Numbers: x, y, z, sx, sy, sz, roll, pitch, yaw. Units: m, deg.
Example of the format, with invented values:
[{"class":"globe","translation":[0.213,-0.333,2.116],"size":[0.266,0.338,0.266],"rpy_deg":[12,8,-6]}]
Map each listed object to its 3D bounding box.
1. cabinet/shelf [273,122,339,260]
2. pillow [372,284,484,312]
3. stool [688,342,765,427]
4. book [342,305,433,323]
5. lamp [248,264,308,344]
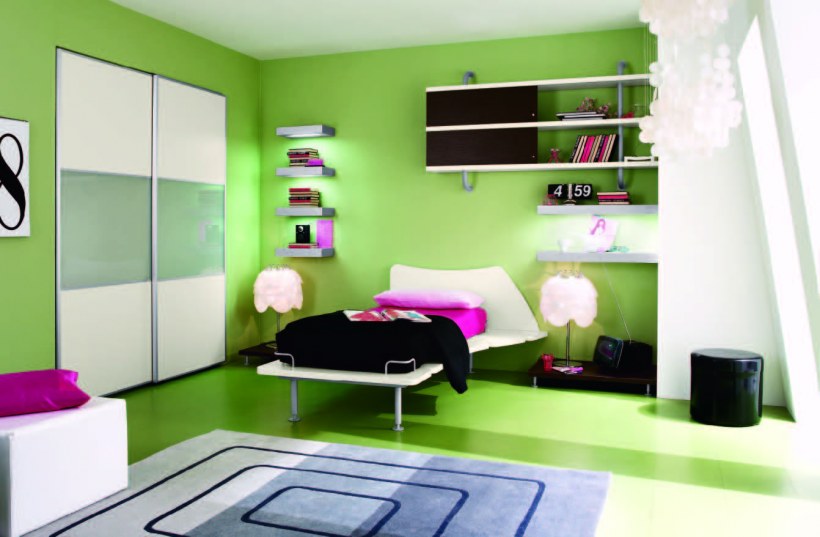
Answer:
[{"class":"cabinet/shelf","translation":[-1.258,-0.894,7.264],"size":[0.710,1.583,0.507],"rpy_deg":[1,11,8]},{"class":"pillow","translation":[0.161,0.329,6.460],"size":[1.148,0.225,0.318],"rpy_deg":[2,11,9]},{"class":"stool","translation":[2.668,1.008,5.395],"size":[0.632,0.617,0.612],"rpy_deg":[0,-1,-11]},{"class":"book","translation":[-0.294,0.434,5.630],"size":[1.001,0.136,0.258],"rpy_deg":[-1,-2,2]},{"class":"lamp","translation":[-1.522,0.369,6.936],"size":[0.740,0.912,0.712],"rpy_deg":[-1,1,3]}]
